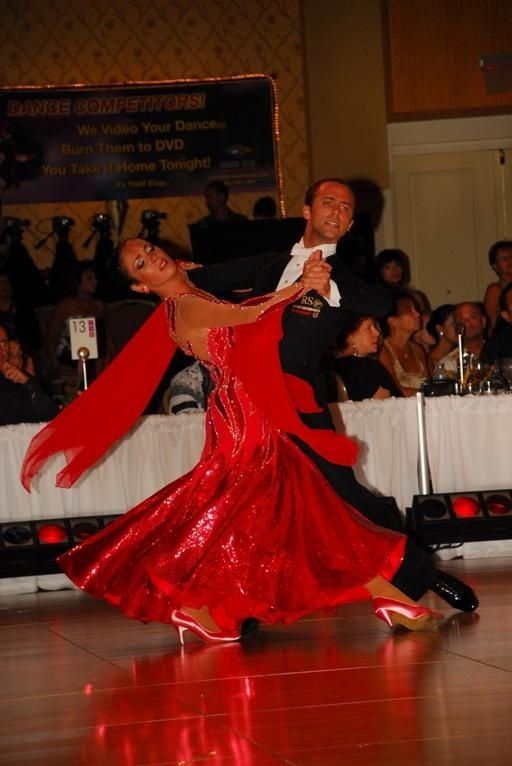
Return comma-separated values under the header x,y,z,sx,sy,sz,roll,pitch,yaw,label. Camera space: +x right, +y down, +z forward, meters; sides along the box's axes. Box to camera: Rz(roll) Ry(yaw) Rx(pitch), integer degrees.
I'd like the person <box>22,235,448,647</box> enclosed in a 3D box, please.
x,y,z,sx,sy,sz,roll,pitch,yaw,label
-0.069,0.164,1.848,1.198,1.038,0.683,-1,0,2,person

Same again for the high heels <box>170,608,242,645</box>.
x,y,z,sx,sy,sz,roll,pitch,yaw,label
-0.154,0.675,1.853,0.246,0.104,0.076,2,-4,-12,high heels

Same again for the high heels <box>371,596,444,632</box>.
x,y,z,sx,sy,sz,roll,pitch,yaw,label
0.401,0.625,1.821,0.233,0.069,0.095,8,21,1,high heels
